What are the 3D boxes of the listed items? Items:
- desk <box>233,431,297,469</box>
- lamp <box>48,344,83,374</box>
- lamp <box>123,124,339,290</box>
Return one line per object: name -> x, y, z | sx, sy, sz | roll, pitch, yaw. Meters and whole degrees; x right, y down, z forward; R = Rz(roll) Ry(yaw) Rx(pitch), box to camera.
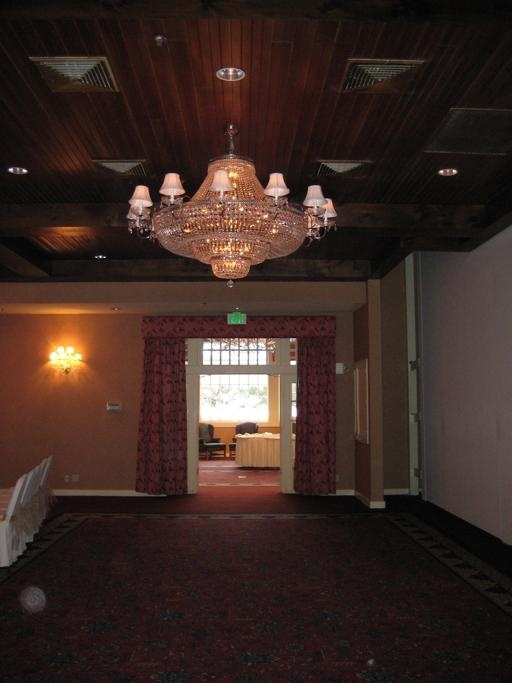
desk -> 0.050, 2.735, 12.783 | 1.055, 0.790, 0.400 | 2, -8, -5
lamp -> -3.422, 0.353, 9.291 | 0.514, 0.499, 0.518 | -3, -14, 26
lamp -> -0.177, -1.003, 3.535 | 1.380, 1.135, 1.435 | 1, 4, 12
